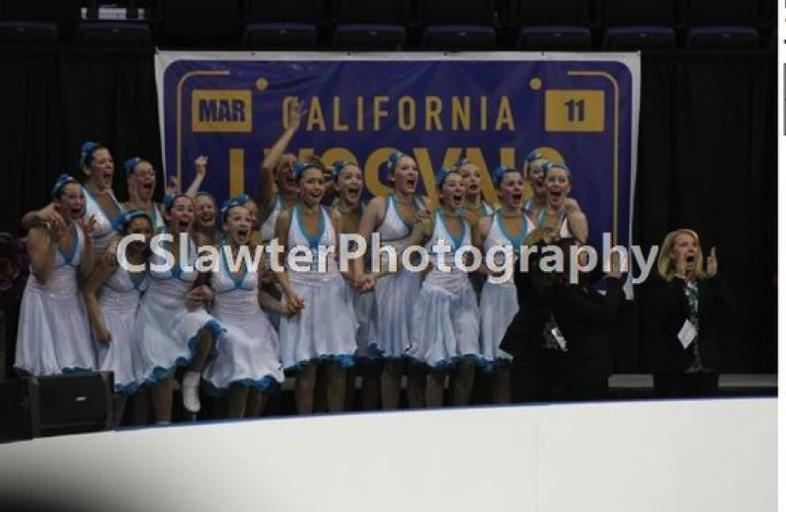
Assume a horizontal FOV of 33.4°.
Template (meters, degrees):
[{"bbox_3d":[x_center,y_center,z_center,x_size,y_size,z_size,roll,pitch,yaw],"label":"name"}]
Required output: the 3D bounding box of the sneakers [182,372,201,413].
[{"bbox_3d":[-1.316,0.874,8.564,0.098,0.279,0.183,1,-25,-28],"label":"sneakers"}]
